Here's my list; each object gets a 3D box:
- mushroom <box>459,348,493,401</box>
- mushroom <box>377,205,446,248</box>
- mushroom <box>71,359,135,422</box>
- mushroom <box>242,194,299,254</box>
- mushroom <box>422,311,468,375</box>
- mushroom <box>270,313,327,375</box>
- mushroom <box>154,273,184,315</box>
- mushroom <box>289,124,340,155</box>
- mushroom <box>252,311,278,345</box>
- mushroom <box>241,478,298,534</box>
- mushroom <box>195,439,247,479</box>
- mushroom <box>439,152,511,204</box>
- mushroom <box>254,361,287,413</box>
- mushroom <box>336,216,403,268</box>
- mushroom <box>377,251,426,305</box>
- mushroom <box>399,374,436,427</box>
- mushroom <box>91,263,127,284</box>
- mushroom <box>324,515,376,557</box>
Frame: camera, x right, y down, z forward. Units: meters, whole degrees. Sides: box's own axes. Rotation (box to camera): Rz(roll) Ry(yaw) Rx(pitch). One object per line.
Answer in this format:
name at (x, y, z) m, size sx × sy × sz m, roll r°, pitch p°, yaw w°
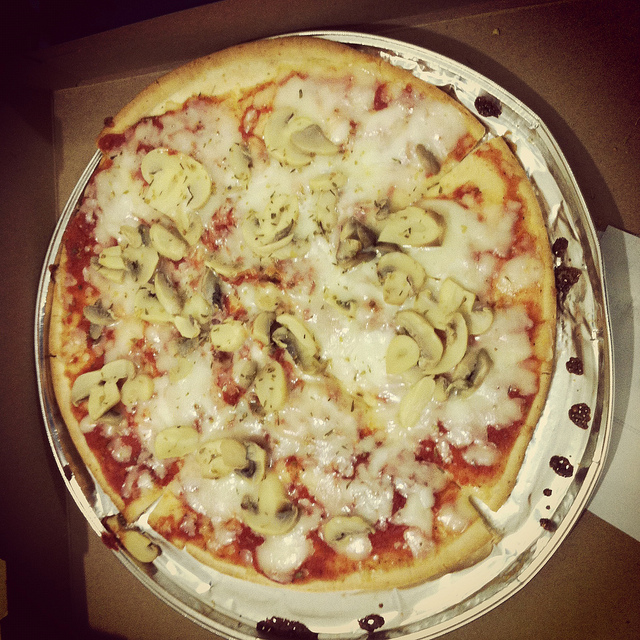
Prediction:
mushroom at (0.770, 0.277, 4.398) m, size 0.215 × 0.047 × 0.150 m, roll -63°, pitch 33°, yaw 14°
mushroom at (0.463, -0.456, 4.400) m, size 0.327 × 0.120 × 0.184 m, roll 5°, pitch 83°, yaw 1°
mushroom at (-1.141, 0.391, 4.866) m, size 0.315 × 0.085 × 0.335 m, roll -37°, pitch 64°, yaw 17°
mushroom at (-0.237, -0.467, 4.477) m, size 0.251 × 0.070 × 0.299 m, roll 36°, pitch 108°, yaw 9°
mushroom at (0.633, 0.124, 4.314) m, size 0.198 × 0.062 × 0.296 m, roll 13°, pitch 96°, yaw 35°
mushroom at (-0.094, 0.090, 4.606) m, size 0.190 × 0.092 × 0.352 m, roll -40°, pitch 82°, yaw 28°
mushroom at (-0.789, -0.114, 4.663) m, size 0.126 × 0.048 × 0.225 m, roll -26°, pitch 97°, yaw -29°
mushroom at (-0.021, -0.890, 4.412) m, size 0.201 × 0.059 × 0.147 m, roll 13°, pitch 87°, yaw -6°
mushroom at (-0.293, 0.048, 4.563) m, size 0.041 × 0.122 × 0.170 m, roll -3°, pitch 51°, yaw 48°
mushroom at (-0.256, 0.976, 4.535) m, size 0.257 × 0.091 × 0.275 m, roll -34°, pitch 84°, yaw -4°
mushroom at (-0.548, 0.753, 4.661) m, size 0.195 × 0.301 × 0.084 m, roll 11°, pitch 98°, yaw -7°
mushroom at (0.786, -0.709, 4.438) m, size 0.339 × 0.085 × 0.232 m, roll 16°, pitch 83°, yaw 2°
mushroom at (-0.235, 0.342, 4.573) m, size 0.224 × 0.081 × 0.335 m, roll -22°, pitch 37°, yaw 14°
mushroom at (0.287, -0.353, 4.466) m, size 0.394 × 0.287 × 0.140 m, roll 17°, pitch 99°, yaw 46°
mushroom at (0.428, -0.184, 4.404) m, size 0.305 × 0.075 × 0.331 m, roll 1°, pitch 87°, yaw 46°
mushroom at (0.491, 0.402, 4.446) m, size 0.121 × 0.107 × 0.287 m, roll 31°, pitch 84°, yaw 4°
mushroom at (-1.127, -0.247, 4.788) m, size 0.120 × 0.125 × 0.036 m, roll -2°, pitch 56°, yaw 36°
mushroom at (0.147, 1.073, 4.500) m, size 0.253 × 0.110 × 0.194 m, roll -34°, pitch 84°, yaw -4°
